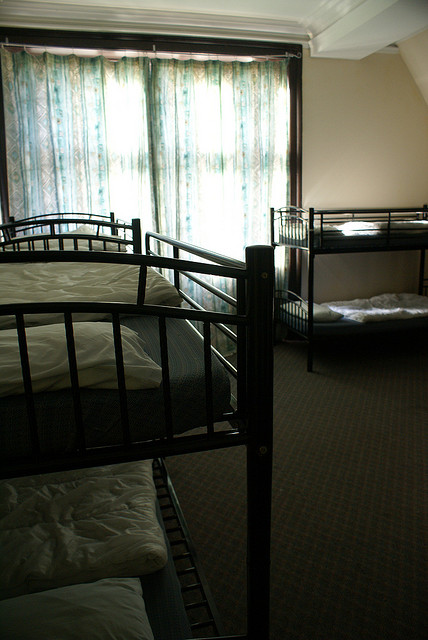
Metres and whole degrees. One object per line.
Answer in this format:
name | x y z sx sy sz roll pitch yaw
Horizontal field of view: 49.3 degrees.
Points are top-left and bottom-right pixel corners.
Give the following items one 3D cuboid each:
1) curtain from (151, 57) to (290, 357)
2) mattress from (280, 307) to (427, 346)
curtain | 0.033 -1.266 3.669 0.988 2.463 0.360 -3 10 -26
mattress | 1.100 0.079 3.641 1.019 0.318 0.551 -5 11 -10
